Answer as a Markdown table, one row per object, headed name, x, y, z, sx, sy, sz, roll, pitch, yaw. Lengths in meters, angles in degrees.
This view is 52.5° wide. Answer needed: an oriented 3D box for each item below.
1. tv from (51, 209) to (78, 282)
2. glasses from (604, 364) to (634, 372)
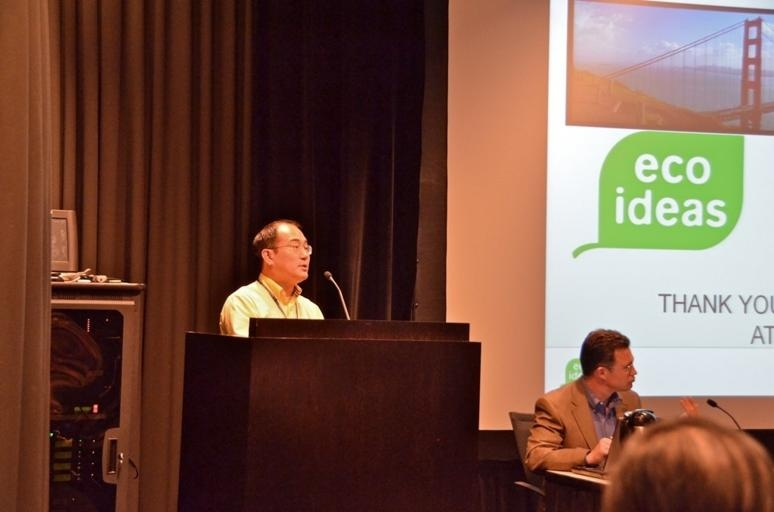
| name | x | y | z | sx | sy | sz | roll | pitch | yaw |
| --- | --- | --- | --- | --- | --- | --- | --- | --- | --- |
| tv | -1.696 | -0.055 | 4.107 | 0.180 | 0.277 | 0.145 | -3 | -11 | 2 |
| glasses | 1.229 | 0.578 | 4.080 | 0.158 | 0.041 | 0.051 | 0 | -2 | -28 |
